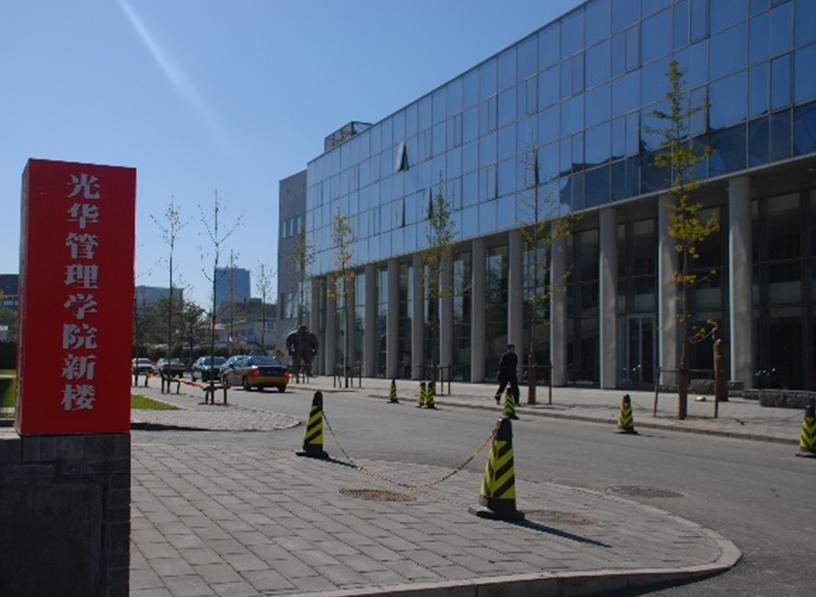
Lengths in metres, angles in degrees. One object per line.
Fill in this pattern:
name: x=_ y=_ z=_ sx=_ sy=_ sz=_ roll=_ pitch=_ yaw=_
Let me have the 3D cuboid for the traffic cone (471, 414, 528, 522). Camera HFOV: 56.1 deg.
traffic cone: x=1.163 y=2.085 z=9.817 sx=0.648 sy=1.181 sz=0.917 roll=2 pitch=-1 yaw=7

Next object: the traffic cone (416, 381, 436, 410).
traffic cone: x=0.600 y=3.529 z=28.192 sx=0.734 sy=0.989 sz=0.771 roll=-2 pitch=-3 yaw=20

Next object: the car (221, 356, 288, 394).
car: x=-7.527 y=3.564 z=37.837 sx=1.590 sy=1.266 sz=3.757 roll=4 pitch=-3 yaw=-32
